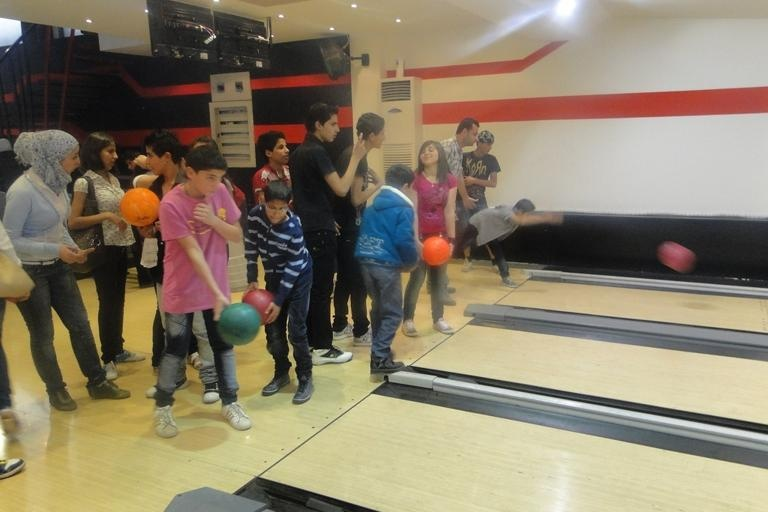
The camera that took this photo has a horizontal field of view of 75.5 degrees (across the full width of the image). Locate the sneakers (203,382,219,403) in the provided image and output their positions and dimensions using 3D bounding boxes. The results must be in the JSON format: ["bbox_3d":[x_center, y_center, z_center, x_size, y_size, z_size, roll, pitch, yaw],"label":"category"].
[{"bbox_3d":[-1.413,1.106,4.014,0.123,0.125,0.146,-6,15,-19],"label":"sneakers"}]

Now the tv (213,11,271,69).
[{"bbox_3d":[-1.533,-2.298,5.263,0.369,0.448,0.700,7,11,32],"label":"tv"}]

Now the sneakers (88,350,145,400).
[{"bbox_3d":[-2.292,1.031,4.297,0.194,0.219,0.543,6,9,12],"label":"sneakers"}]

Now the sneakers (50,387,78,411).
[{"bbox_3d":[-2.585,1.127,3.941,0.293,0.116,0.110,2,6,36],"label":"sneakers"}]

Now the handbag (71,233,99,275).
[{"bbox_3d":[-2.436,-0.032,4.010,0.266,0.303,0.136,20,6,30],"label":"handbag"}]

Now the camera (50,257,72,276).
[{"bbox_3d":[-2.496,0.094,3.838,0.100,0.120,0.172,17,-13,-9],"label":"camera"}]

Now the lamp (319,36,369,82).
[{"bbox_3d":[-0.593,-2.994,7.594,0.775,0.373,0.615,3,5,7],"label":"lamp"}]

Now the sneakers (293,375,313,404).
[{"bbox_3d":[-0.654,1.055,3.962,0.153,0.180,0.185,-1,14,-1],"label":"sneakers"}]

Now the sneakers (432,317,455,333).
[{"bbox_3d":[0.622,0.718,5.150,0.222,0.089,0.116,12,18,41],"label":"sneakers"}]

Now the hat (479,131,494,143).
[{"bbox_3d":[1.375,-1.577,6.650,0.171,0.192,0.208,4,26,18],"label":"hat"}]

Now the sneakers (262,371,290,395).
[{"bbox_3d":[-0.888,1.059,4.108,0.095,0.102,0.273,4,2,21],"label":"sneakers"}]

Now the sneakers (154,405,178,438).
[{"bbox_3d":[-1.643,1.205,3.624,0.128,0.147,0.264,4,-3,-40],"label":"sneakers"}]

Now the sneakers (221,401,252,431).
[{"bbox_3d":[-1.103,1.175,3.719,0.286,0.108,0.126,16,19,43],"label":"sneakers"}]
